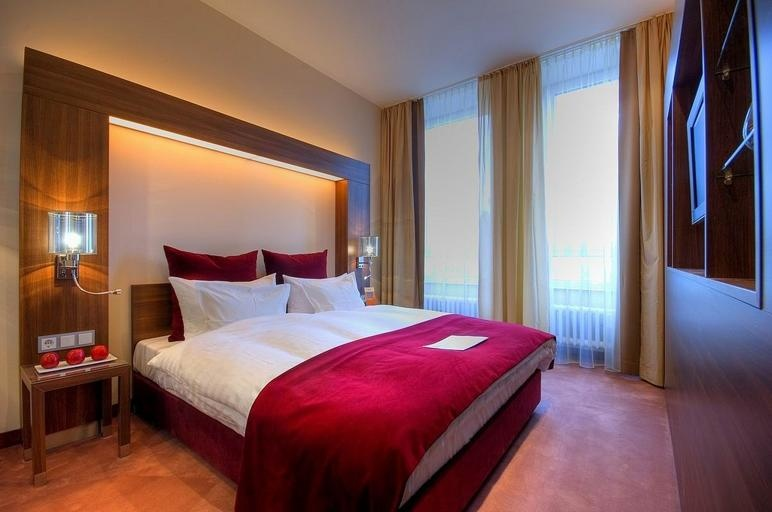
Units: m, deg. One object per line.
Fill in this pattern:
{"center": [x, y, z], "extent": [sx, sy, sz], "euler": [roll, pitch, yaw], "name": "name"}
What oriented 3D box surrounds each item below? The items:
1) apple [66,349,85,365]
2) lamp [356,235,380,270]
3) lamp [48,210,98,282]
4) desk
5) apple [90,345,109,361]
{"center": [-2.340, 0.755, 3.668], "extent": [0.106, 0.113, 0.118], "euler": [0, 5, 3], "name": "apple"}
{"center": [-0.218, -0.035, 5.982], "extent": [0.260, 0.424, 0.218], "euler": [2, 3, -7], "name": "lamp"}
{"center": [-2.475, -0.062, 3.818], "extent": [0.297, 0.497, 0.298], "euler": [-1, -2, 29], "name": "lamp"}
{"center": [-2.427, 1.206, 3.789], "extent": [0.843, 0.755, 0.873], "euler": [2, 4, 15], "name": "desk"}
{"center": [-2.222, 0.744, 3.784], "extent": [0.106, 0.120, 0.115], "euler": [8, -6, 10], "name": "apple"}
